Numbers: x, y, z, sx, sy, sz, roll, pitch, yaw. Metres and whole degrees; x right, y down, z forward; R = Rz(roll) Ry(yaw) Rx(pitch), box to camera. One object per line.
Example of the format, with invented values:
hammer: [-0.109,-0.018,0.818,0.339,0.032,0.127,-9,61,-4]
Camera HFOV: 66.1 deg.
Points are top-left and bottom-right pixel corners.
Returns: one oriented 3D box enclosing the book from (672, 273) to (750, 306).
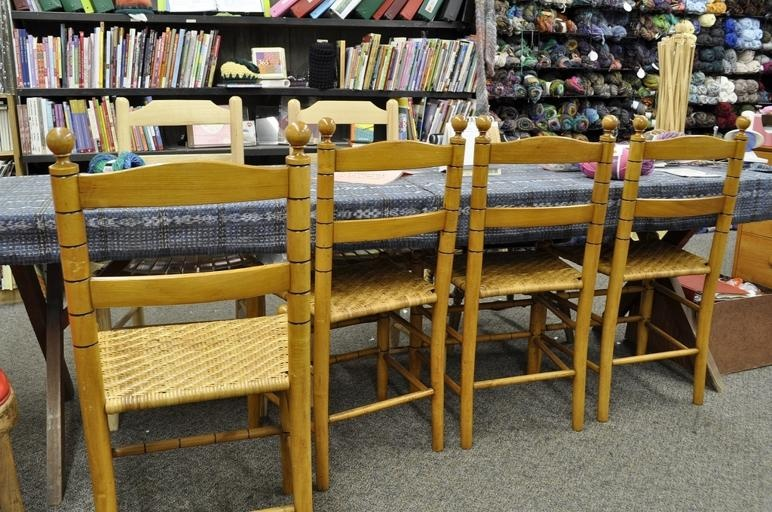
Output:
book: [1.584,0.155,2.877,0.250,0.046,0.216,2,14,6]

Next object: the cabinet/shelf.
cabinet/shelf: [-0.152,-0.991,3.376,5.513,0.587,1.157,-4,15,-7]
